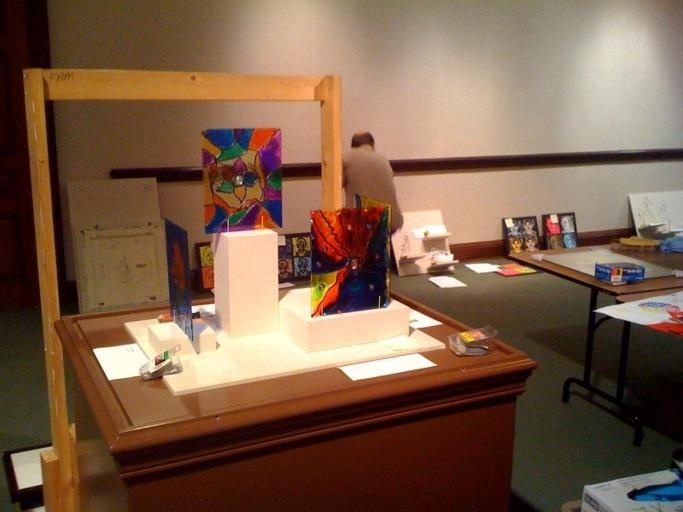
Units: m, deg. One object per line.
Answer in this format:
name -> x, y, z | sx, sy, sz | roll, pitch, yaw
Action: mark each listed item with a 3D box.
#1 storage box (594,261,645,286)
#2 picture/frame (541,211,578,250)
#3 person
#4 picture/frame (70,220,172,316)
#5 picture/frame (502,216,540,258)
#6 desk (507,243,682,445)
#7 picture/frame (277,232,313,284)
storage box -> 1.647, 0.096, 2.993 | 0.197, 0.097, 0.150 | -1, 14, -7
picture/frame -> 2.811, -0.338, 6.394 | 0.486, 0.639, 0.079 | -1, -7, -15
person -> 0.350, -0.790, 5.443 | 0.682, 1.166, 0.432 | -9, 9, -13
picture/frame -> -1.883, 0.079, 4.149 | 0.750, 0.754, 0.082 | -6, 1, -20
picture/frame -> 2.147, -0.250, 5.970 | 0.461, 0.479, 0.049 | -6, -1, -22
desk -> 1.831, 0.443, 3.287 | 0.963, 0.925, 1.200 | -2, 13, -18
picture/frame -> -0.498, -0.003, 5.054 | 0.512, 0.632, 0.059 | -1, 8, -14
